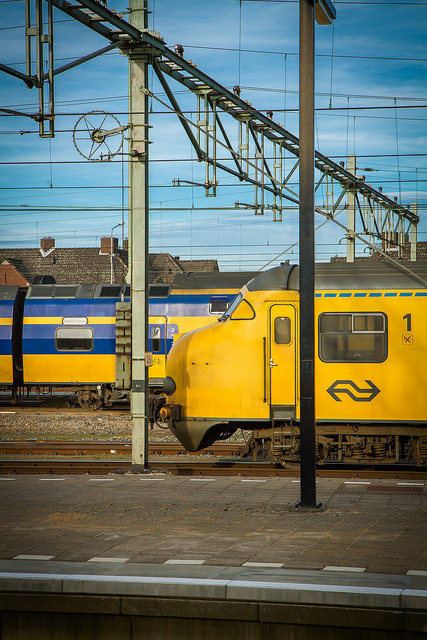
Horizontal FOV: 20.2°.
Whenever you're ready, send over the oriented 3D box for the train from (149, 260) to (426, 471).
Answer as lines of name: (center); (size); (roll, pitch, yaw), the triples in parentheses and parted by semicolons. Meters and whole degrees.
train: (1.260, 0.649, 16.351); (3.380, 2.804, 1.065); (0, 2, 20)
